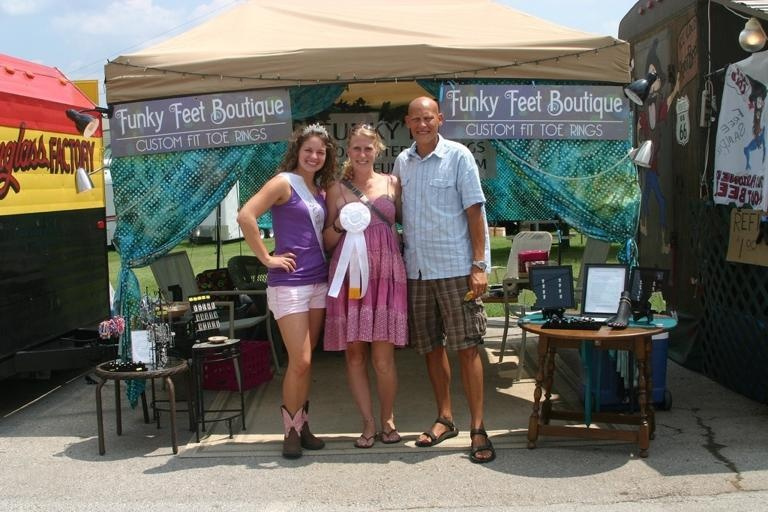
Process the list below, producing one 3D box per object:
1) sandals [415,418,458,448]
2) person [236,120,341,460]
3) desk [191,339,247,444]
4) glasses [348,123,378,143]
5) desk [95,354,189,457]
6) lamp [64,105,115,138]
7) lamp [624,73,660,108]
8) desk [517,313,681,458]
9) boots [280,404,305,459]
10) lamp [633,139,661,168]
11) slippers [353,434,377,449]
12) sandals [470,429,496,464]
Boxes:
[{"bbox_3d":[0.457,1.536,6.041,0.452,0.207,0.159,0,-7,-39],"label":"sandals"},{"bbox_3d":[-0.763,0.269,5.909,0.595,2.716,0.878,3,13,22],"label":"person"},{"bbox_3d":[-1.517,1.223,6.329,0.555,0.837,0.621,-7,-3,13],"label":"desk"},{"bbox_3d":[-0.175,-1.073,5.816,0.176,0.055,0.180,4,-11,-9],"label":"glasses"},{"bbox_3d":[-2.173,1.318,6.206,0.764,0.808,0.756,-5,9,-13],"label":"desk"},{"bbox_3d":[-3.032,-1.390,7.136,0.407,0.314,1.173,-7,13,-23],"label":"lamp"},{"bbox_3d":[2.494,-1.646,6.564,0.338,0.168,0.190,-46,28,3],"label":"lamp"},{"bbox_3d":[1.824,1.102,6.043,1.267,1.007,1.328,-2,-6,27],"label":"desk"},{"bbox_3d":[-0.768,1.485,5.824,0.209,0.405,0.412,-1,6,-8],"label":"boots"},{"bbox_3d":[2.499,-0.979,6.669,0.177,0.249,0.326,2,13,16],"label":"lamp"},{"bbox_3d":[-0.157,1.584,5.910,0.092,0.210,0.193,-6,-12,24],"label":"slippers"},{"bbox_3d":[0.821,1.543,5.818,0.206,0.205,0.493,-3,9,3],"label":"sandals"}]
